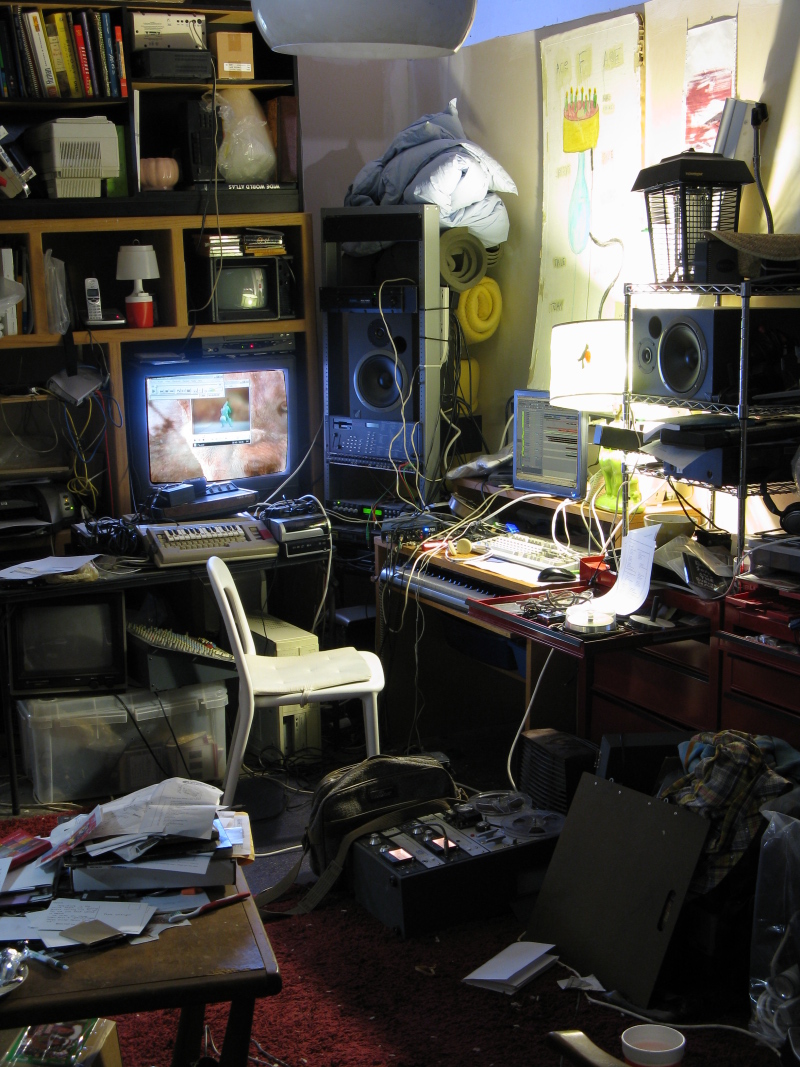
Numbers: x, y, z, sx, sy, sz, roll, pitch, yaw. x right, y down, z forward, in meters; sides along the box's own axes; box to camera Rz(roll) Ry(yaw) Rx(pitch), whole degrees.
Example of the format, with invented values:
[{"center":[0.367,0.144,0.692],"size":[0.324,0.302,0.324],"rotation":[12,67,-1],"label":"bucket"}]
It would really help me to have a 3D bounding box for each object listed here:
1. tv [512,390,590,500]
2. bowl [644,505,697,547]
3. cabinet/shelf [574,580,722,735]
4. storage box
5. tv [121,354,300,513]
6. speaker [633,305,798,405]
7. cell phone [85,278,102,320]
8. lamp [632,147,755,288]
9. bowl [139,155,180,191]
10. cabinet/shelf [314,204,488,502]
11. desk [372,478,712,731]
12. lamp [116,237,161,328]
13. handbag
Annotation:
[{"center":[0.538,-0.316,3.035],"size":[0.192,0.336,0.353],"rotation":[-6,12,-33],"label":"tv"},{"center":[0.825,-0.039,2.688],"size":[0.160,0.106,0.135],"rotation":[-5,10,-16],"label":"bowl"},{"center":[0.688,0.332,2.357],"size":[0.177,0.418,0.450],"rotation":[-3,6,-31],"label":"cabinet/shelf"},{"center":[-0.943,0.683,3.004],"size":[0.549,0.286,0.395],"rotation":[-4,6,-28],"label":"storage box"},{"center":[-0.738,-0.456,3.619],"size":[0.790,0.656,0.533],"rotation":[-9,6,-18],"label":"tv"},{"center":[0.795,-0.463,2.232],"size":[0.321,0.194,0.304],"rotation":[-7,11,-31],"label":"speaker"},{"center":[-1.243,-0.949,3.508],"size":[0.061,0.196,0.137],"rotation":[-9,6,-20],"label":"cell phone"},{"center":[0.792,-0.854,2.373],"size":[0.243,0.371,0.419],"rotation":[-9,6,-14],"label":"lamp"},{"center":[-0.986,-1.470,3.540],"size":[0.148,0.102,0.149],"rotation":[0,10,0],"label":"bowl"},{"center":[-0.087,-0.713,3.518],"size":[0.673,1.201,0.344],"rotation":[-5,6,18],"label":"cabinet/shelf"},{"center":[0.453,0.205,2.780],"size":[0.555,0.743,0.964],"rotation":[0,4,-23],"label":"desk"},{"center":[-1.089,-1.036,3.635],"size":[0.184,0.365,0.312],"rotation":[-9,6,-13],"label":"lamp"},{"center":[-0.112,0.818,2.436],"size":[0.601,0.309,0.416],"rotation":[-8,6,-9],"label":"handbag"}]
